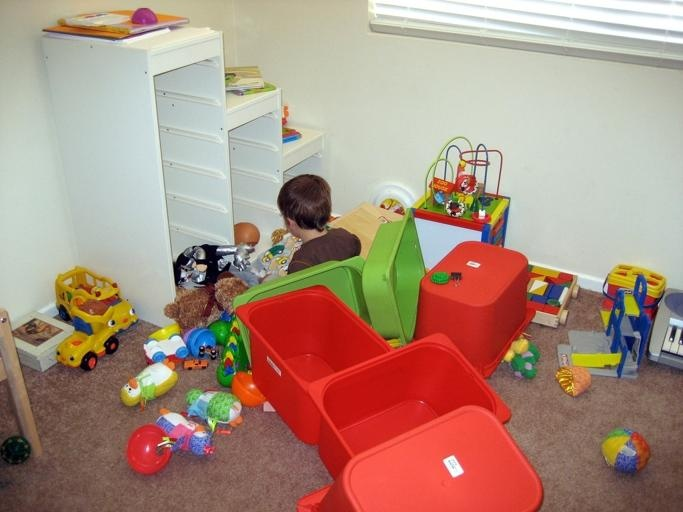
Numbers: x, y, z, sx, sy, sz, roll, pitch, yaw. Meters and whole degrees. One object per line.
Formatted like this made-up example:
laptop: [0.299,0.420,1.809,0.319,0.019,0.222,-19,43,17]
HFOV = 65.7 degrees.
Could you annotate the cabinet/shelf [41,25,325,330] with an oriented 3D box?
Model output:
cabinet/shelf: [-0.939,-0.389,2.972,0.485,1.332,1.411,17,41,20]

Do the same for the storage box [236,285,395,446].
storage box: [-0.166,0.433,2.488,0.575,0.483,0.736,-21,43,-26]

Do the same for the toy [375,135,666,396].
toy: [1.268,-0.108,3.570,1.765,1.442,1.185,22,41,29]

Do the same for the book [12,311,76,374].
book: [-1.635,0.463,2.919,0.259,0.075,0.280,25,40,18]

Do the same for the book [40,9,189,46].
book: [-1.173,-1.234,2.762,0.603,0.124,0.499,12,31,17]

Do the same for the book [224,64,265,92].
book: [-0.600,-1.088,3.258,0.214,0.054,0.225,-10,43,-20]

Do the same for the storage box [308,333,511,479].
storage box: [0.231,0.642,2.239,0.689,0.283,0.575,-21,53,-19]

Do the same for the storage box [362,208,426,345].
storage box: [0.276,0.127,2.638,0.162,0.531,0.532,0,45,22]
